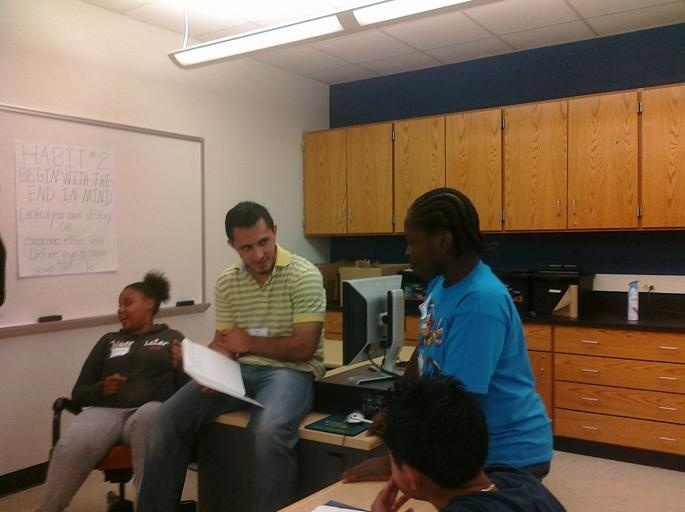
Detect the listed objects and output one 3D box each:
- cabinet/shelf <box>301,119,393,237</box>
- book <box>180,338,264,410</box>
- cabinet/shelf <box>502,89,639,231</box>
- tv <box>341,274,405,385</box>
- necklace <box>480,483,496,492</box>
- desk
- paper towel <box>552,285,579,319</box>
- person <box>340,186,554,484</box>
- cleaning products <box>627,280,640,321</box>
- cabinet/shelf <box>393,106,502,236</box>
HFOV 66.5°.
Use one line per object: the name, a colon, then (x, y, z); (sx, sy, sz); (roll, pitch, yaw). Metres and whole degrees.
cabinet/shelf: (0.059, -0.756, 5.194); (1.188, 1.106, 0.387); (0, 1, 31)
book: (-0.581, 0.509, 2.354); (0.355, 0.097, 0.353); (34, 11, -25)
cabinet/shelf: (1.822, -0.780, 4.379); (1.069, 1.050, 0.394); (-3, 6, -2)
tv: (0.331, 0.627, 4.710); (0.342, 0.639, 0.712); (-21, -29, 31)
necklace: (0.423, 0.675, 1.526); (0.032, 0.012, 0.024); (-6, -9, 17)
desk: (-0.042, 0.763, 2.650); (0.756, 0.481, 0.743); (-3, 0, 37)
paper towel: (1.742, 0.354, 4.095); (0.195, 0.254, 0.119); (0, 2, 16)
person: (0.370, 0.300, 2.143); (0.883, 1.119, 0.728); (0, 1, -12)
cleaning products: (2.213, 0.343, 3.997); (0.076, 0.281, 0.357); (1, 2, 29)
cabinet/shelf: (0.877, -0.799, 4.942); (1.079, 1.056, 0.354); (5, 14, 34)
